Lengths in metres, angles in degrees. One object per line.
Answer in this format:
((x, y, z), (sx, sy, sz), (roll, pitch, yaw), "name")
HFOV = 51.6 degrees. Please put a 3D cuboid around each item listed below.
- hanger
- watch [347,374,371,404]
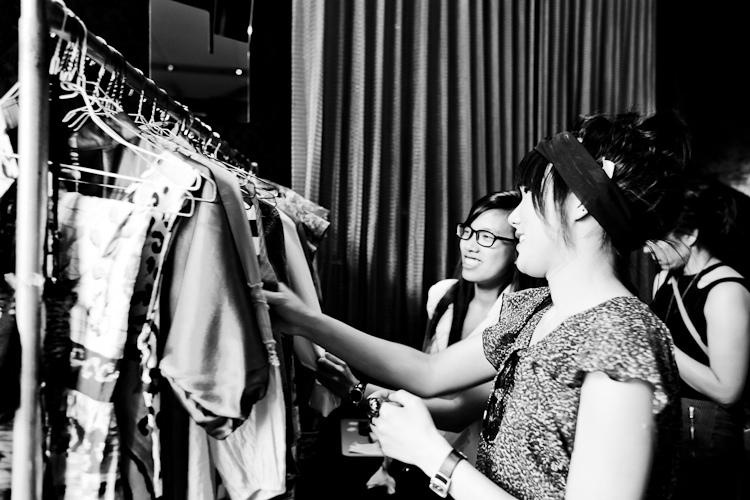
((-0.487, 0.019, 1.617), (0.578, 0.962, 0.430), (3, 5, -26), "hanger")
((-0.045, 0.346, 1.908), (0.045, 0.067, 0.061), (9, -5, 7), "watch")
